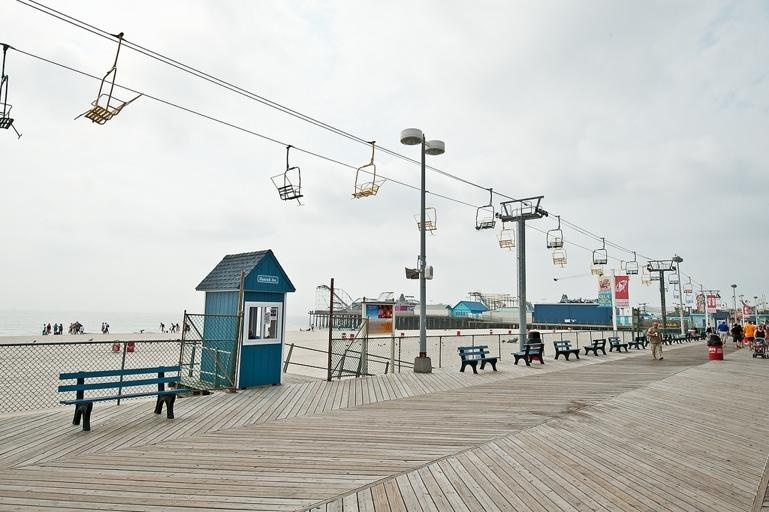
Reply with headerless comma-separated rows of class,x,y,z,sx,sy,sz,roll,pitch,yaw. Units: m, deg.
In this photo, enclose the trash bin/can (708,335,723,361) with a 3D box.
trash bin/can,13.949,3.872,26.609,0.562,1.005,1.353,6,12,25
